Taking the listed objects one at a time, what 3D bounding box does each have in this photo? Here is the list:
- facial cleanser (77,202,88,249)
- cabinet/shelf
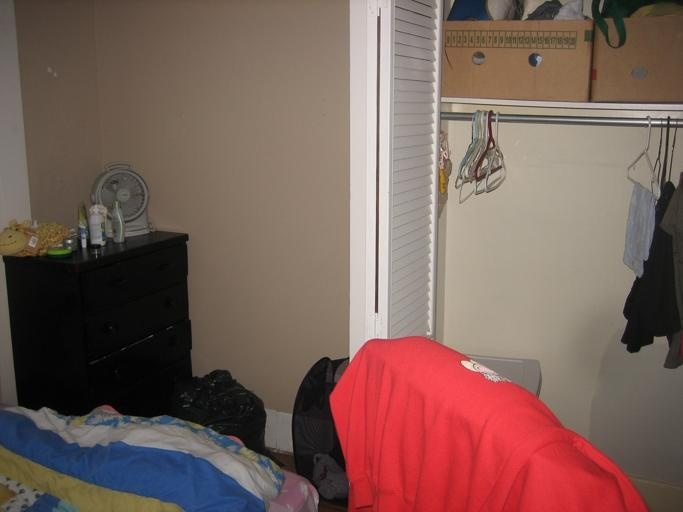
[{"bbox_3d":[-1.333,-0.148,2.691,0.049,0.236,0.024,3,19,-1],"label":"facial cleanser"},{"bbox_3d":[-1.266,0.323,2.621,0.485,1.050,0.721,4,12,24],"label":"cabinet/shelf"}]
